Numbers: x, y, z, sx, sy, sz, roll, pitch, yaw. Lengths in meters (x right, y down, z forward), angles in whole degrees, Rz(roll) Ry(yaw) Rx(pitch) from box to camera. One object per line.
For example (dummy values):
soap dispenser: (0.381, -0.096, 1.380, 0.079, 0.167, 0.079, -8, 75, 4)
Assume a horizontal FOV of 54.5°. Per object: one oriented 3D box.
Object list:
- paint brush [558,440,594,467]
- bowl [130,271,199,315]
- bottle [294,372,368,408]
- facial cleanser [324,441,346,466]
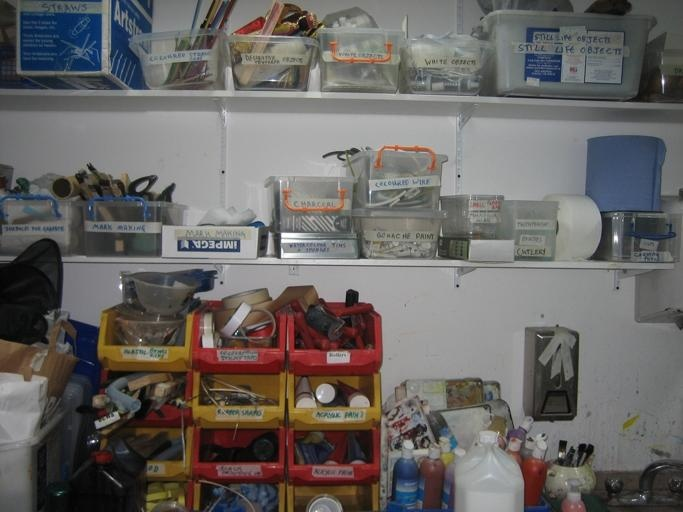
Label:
paint brush: (0.964, 0.806, 2.716, 0.126, 0.103, 0.054, -13, -4, 28)
bowl: (-0.712, 0.160, 2.645, 0.291, 0.131, 0.246, 6, 11, -27)
bottle: (-0.060, 0.541, 2.639, 0.256, 0.116, 0.261, 3, 12, -1)
facial cleanser: (-0.021, 0.786, 2.633, 0.067, 0.065, 0.117, 3, 49, -2)
